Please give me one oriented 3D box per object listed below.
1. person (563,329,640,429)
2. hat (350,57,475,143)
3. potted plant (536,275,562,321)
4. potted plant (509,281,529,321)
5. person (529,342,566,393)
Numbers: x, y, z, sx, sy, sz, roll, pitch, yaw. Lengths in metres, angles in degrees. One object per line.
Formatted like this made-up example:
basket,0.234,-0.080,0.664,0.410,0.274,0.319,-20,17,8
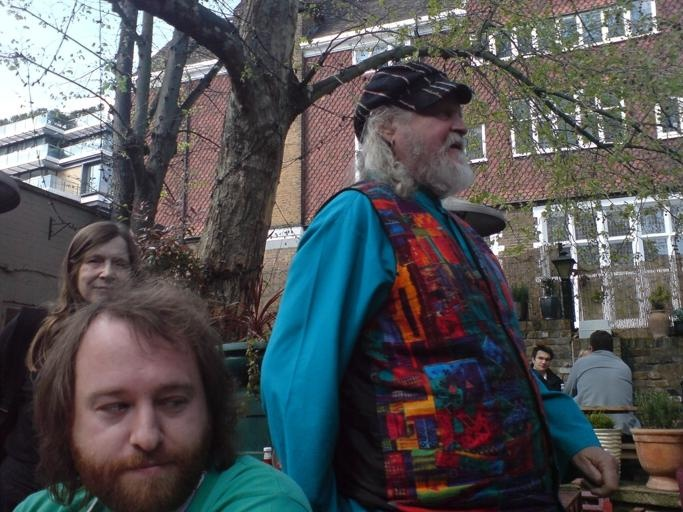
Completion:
person,3.137,1.567,9.230,0.881,1.329,0.865,5,-17,-8
hat,0.337,-0.952,4.465,0.699,0.359,0.490,-18,1,31
potted plant,3.934,0.839,14.150,0.550,0.699,0.492,4,-10,-22
potted plant,3.274,0.833,14.334,0.468,0.645,0.455,1,1,-43
person,2.866,1.616,11.064,0.716,0.717,0.361,-1,-8,15
